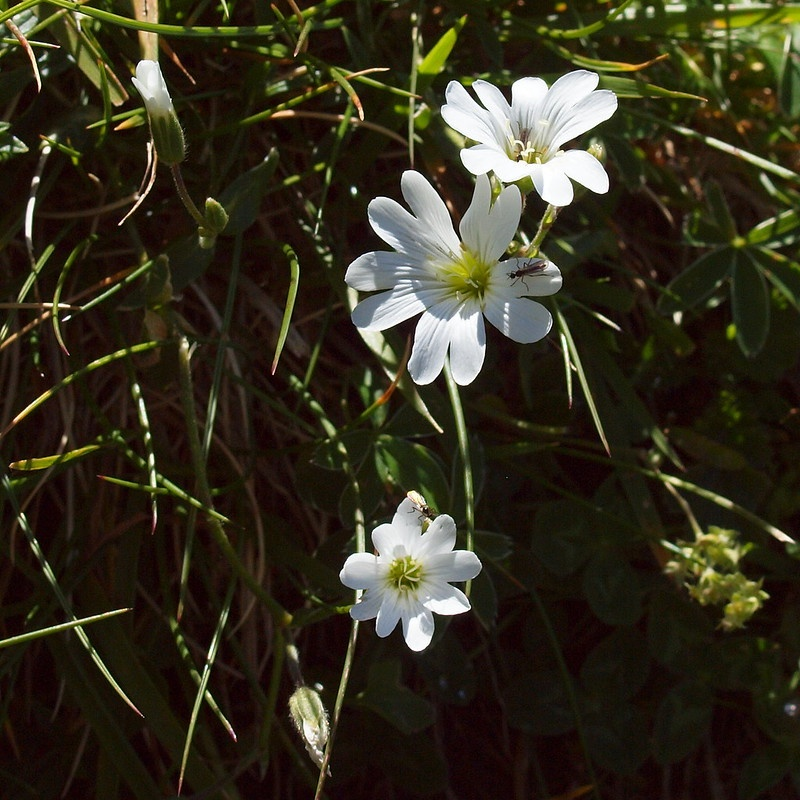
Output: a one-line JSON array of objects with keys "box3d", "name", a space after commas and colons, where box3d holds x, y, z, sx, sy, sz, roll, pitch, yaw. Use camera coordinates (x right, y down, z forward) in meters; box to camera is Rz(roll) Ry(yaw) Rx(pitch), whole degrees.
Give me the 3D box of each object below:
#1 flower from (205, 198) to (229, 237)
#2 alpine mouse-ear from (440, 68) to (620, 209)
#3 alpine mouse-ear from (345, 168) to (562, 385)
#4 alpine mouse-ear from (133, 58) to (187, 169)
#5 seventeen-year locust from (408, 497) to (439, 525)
[{"box3d": [-0.206, -0.207, 0.925, 0.023, 0.045, 0.100, -4, 19, -12], "name": "flower"}, {"box3d": [0.144, -0.306, 0.891, 0.159, 0.084, 0.188, -11, 61, -17], "name": "alpine mouse-ear"}, {"box3d": [0.059, -0.137, 0.917, 0.234, 0.226, 0.128, 4, 16, 15], "name": "alpine mouse-ear"}, {"box3d": [-0.258, -0.307, 0.888, 0.048, 0.107, 0.124, -5, 17, -15], "name": "alpine mouse-ear"}, {"box3d": [0.029, 0.132, 0.960, 0.011, 0.040, 0.037, -32, 30, 9], "name": "seventeen-year locust"}]
